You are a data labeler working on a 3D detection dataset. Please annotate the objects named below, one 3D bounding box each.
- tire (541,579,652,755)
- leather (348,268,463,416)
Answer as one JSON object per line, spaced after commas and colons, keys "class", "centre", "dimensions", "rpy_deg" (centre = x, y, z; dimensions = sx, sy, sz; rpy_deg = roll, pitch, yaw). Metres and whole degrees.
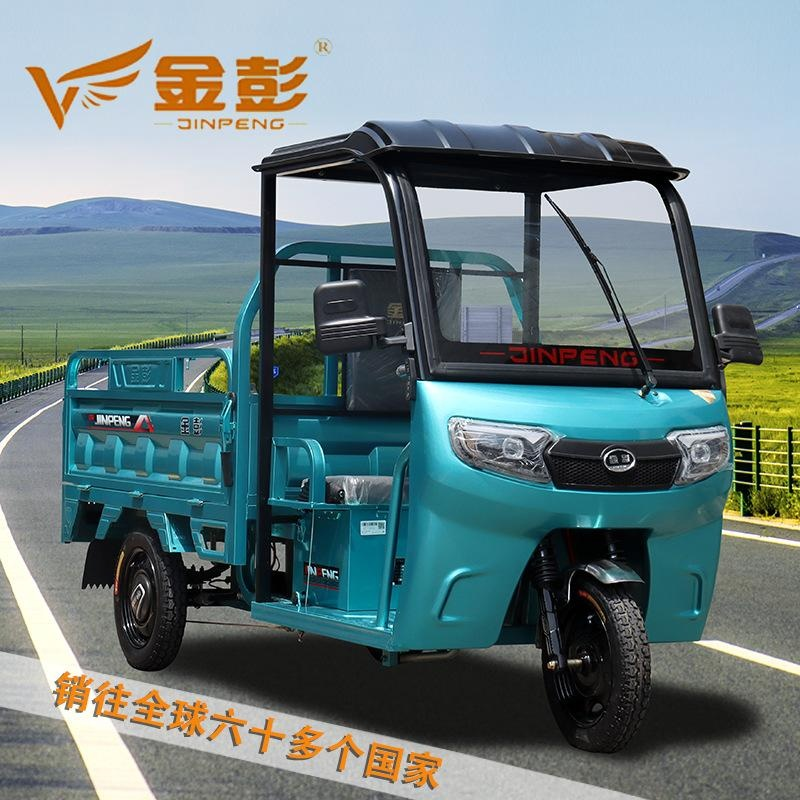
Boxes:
{"class": "tire", "centre": [0.851, 1.194, 2.954], "dimensions": [0.250, 0.768, 0.593], "rpy_deg": [4, -14, -12]}
{"class": "leather", "centre": [0.076, -0.445, 5.344], "dimensions": [1.067, 1.230, 0.142], "rpy_deg": [5, 2, 27]}
